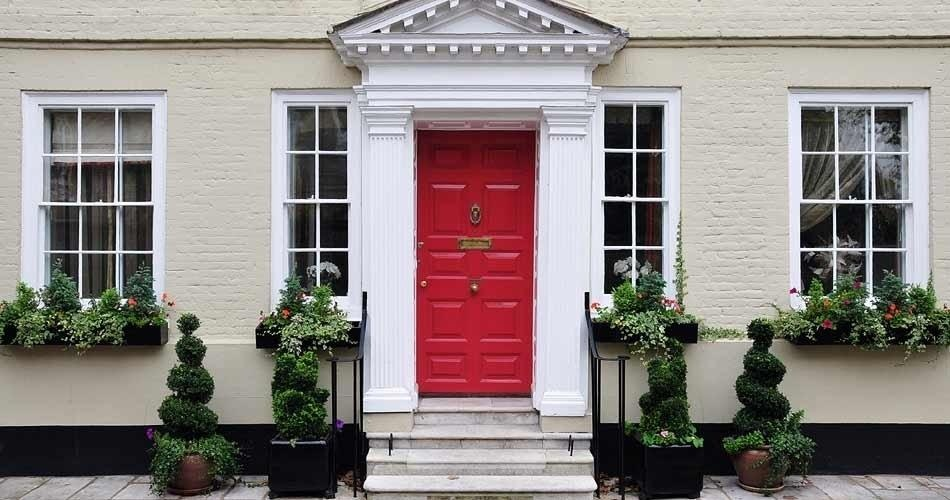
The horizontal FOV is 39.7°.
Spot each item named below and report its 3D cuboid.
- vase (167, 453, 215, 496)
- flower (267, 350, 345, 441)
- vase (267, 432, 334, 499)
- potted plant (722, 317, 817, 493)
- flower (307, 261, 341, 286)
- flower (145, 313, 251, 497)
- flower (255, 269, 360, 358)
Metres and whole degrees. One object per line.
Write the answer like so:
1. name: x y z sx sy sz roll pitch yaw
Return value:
1. vase: -3.846 3.054 17.865 0.684 0.376 0.629 4 -7 -29
2. flower: -2.368 1.968 17.704 0.739 1.188 0.274 -1 2 -6
3. vase: -2.395 2.930 17.932 1.001 0.699 0.637 2 -1 -3
4. potted plant: 3.910 2.118 17.794 1.104 2.334 0.390 0 2 7
5. flower: -2.098 0.336 18.314 0.444 0.221 0.381 5 -11 -17
6. flower: -3.842 2.080 17.843 1.166 2.409 0.490 -1 2 -11
7. flower: -2.360 0.983 18.379 1.801 0.916 1.115 1 12 -10
